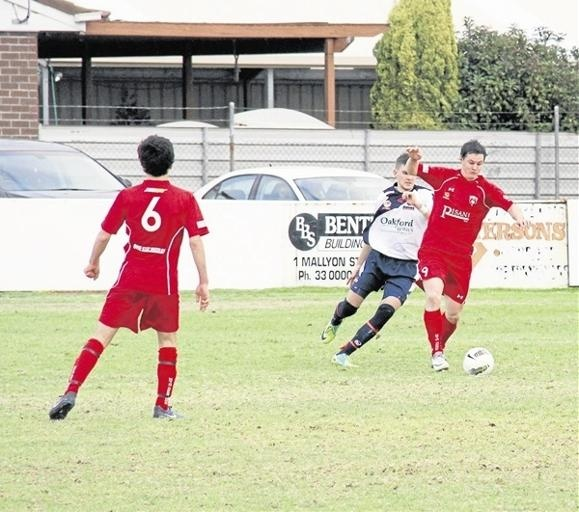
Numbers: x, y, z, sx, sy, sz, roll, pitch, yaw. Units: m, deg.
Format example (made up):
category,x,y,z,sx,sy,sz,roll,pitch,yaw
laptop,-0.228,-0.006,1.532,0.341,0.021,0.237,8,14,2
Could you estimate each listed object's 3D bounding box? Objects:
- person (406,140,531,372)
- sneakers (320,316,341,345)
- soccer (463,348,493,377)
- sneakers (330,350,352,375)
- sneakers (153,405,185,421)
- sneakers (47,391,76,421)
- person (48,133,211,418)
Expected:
category,x,y,z,sx,sy,sz,roll,pitch,yaw
person,1.507,0.012,10.583,0.925,2.066,0.727,1,7,5
sneakers,0.390,0.727,11.409,0.111,0.312,0.122,32,-1,-39
soccer,1.706,0.919,10.623,0.224,0.232,0.263,32,26,36
sneakers,0.476,0.974,10.826,0.155,0.182,0.403,-2,-4,-11
sneakers,-0.940,1.216,9.184,0.261,0.114,0.090,3,3,-17
sneakers,-1.709,1.139,8.926,0.198,0.241,0.143,2,8,16
person,-1.153,0.122,9.044,1.069,2.045,0.461,-1,7,-6
